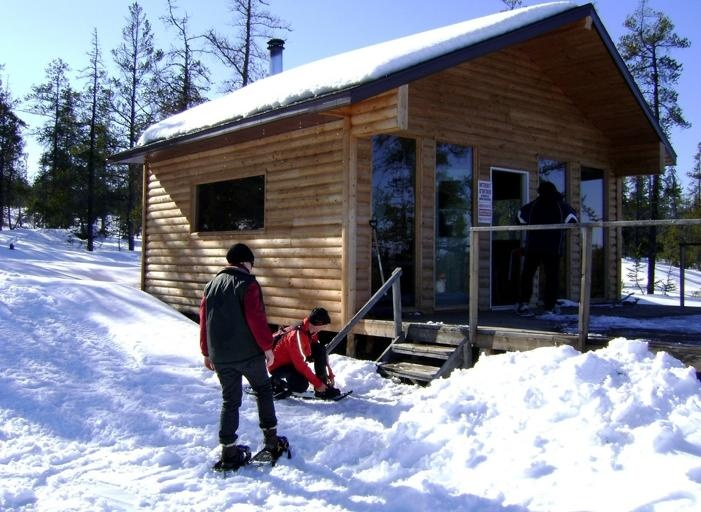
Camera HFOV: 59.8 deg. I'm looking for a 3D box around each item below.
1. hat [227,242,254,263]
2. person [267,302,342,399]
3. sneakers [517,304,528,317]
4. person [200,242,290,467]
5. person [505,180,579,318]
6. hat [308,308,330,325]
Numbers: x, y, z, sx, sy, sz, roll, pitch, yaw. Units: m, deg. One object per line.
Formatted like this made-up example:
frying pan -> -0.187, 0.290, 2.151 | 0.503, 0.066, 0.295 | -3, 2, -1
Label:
hat -> -1.239, -0.018, 6.795 | 0.261, 0.230, 0.192 | -27, 19, -33
person -> -0.640, 1.308, 8.205 | 1.030, 1.248, 0.577 | 6, 9, 6
sneakers -> 2.784, 0.873, 9.872 | 0.160, 0.163, 0.158 | -2, 6, -27
person -> -1.170, 1.100, 6.656 | 0.964, 2.462, 0.403 | 4, -1, -15
person -> 3.028, -0.157, 9.570 | 0.841, 1.814, 1.026 | 4, -1, 16
hat -> -0.381, 0.786, 7.908 | 0.192, 0.230, 0.267 | 12, 19, 43
